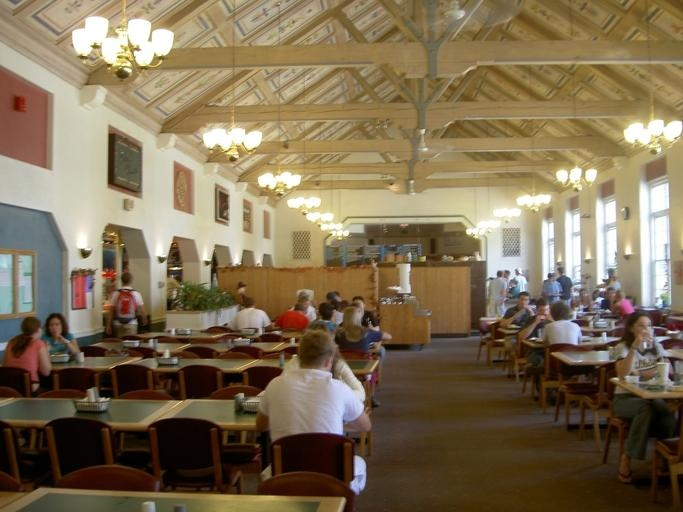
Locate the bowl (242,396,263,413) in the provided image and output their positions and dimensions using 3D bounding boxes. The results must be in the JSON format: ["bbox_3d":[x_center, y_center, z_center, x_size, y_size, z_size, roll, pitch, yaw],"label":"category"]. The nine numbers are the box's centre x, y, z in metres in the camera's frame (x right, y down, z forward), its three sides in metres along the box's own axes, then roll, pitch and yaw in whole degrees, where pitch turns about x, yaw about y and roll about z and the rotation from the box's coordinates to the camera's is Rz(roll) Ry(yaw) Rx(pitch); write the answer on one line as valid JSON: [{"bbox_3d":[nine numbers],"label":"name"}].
[{"bbox_3d":[-0.707,1.161,4.316,0.187,0.070,0.212,0,-5,1],"label":"bowl"}]

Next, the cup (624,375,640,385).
[{"bbox_3d":[2.655,1.136,5.102,0.121,0.044,0.227,-1,-1,27],"label":"cup"}]

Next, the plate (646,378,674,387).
[{"bbox_3d":[2.839,1.133,4.963,0.228,0.032,0.332,-1,-1,29],"label":"plate"}]

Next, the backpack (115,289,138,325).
[{"bbox_3d":[-3.834,0.878,9.843,0.412,0.626,0.219,-1,-1,-20],"label":"backpack"}]

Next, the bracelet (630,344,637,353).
[{"bbox_3d":[2.838,0.906,5.414,0.062,0.049,0.056,0,-9,4],"label":"bracelet"}]

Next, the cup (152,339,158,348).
[{"bbox_3d":[-2.602,1.213,7.714,0.110,0.102,0.100,-1,-6,-1],"label":"cup"}]

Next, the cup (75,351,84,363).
[{"bbox_3d":[-3.082,1.198,6.542,0.123,0.112,0.112,2,-2,-16],"label":"cup"}]

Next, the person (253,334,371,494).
[{"bbox_3d":[-0.201,1.185,4.010,0.875,1.109,0.727,12,-13,-28],"label":"person"}]

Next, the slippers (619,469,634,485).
[{"bbox_3d":[2.538,1.995,4.980,0.129,0.063,0.044,-8,-1,26],"label":"slippers"}]

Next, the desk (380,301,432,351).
[{"bbox_3d":[1.547,1.639,13.605,1.094,0.741,1.416,-1,-2,6],"label":"desk"}]

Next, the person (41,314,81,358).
[{"bbox_3d":[-3.640,1.096,7.041,0.527,0.649,0.403,-1,3,-20],"label":"person"}]
